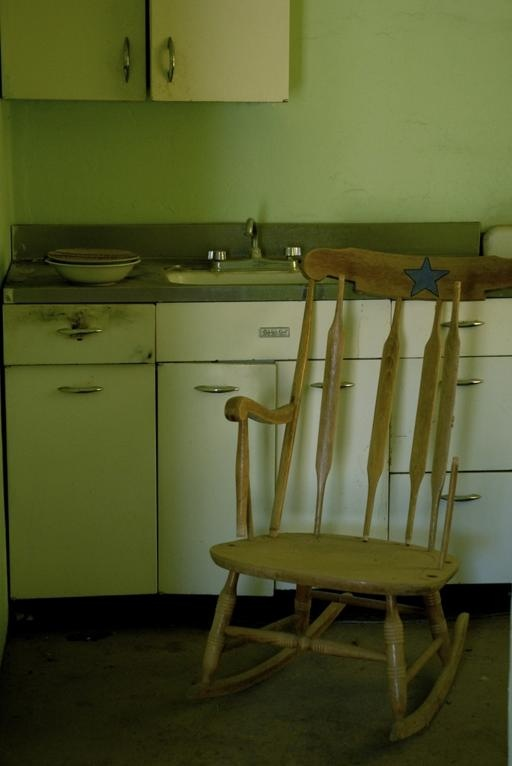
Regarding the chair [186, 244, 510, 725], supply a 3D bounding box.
[{"bbox_3d":[0.215,0.176,1.497,0.533,0.910,0.704,3,6,37],"label":"chair"}]
